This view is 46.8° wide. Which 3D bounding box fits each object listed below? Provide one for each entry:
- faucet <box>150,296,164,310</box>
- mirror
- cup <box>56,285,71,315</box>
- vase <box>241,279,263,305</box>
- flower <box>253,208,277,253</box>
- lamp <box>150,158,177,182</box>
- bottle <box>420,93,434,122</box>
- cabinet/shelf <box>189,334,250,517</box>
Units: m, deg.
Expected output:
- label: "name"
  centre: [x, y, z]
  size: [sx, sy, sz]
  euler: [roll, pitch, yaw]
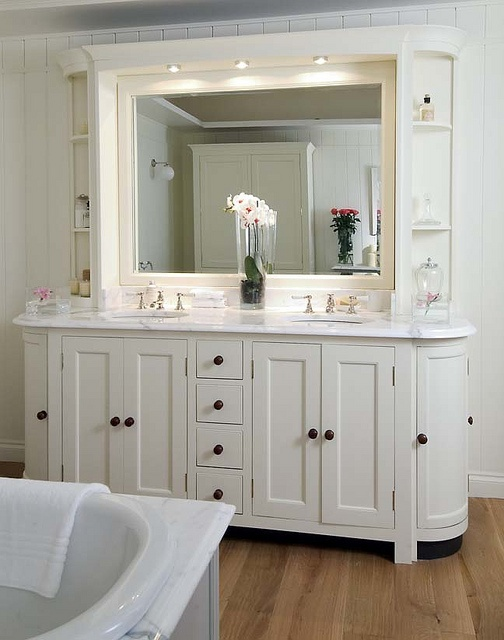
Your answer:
- label: "faucet"
  centre: [-0.469, -0.084, 2.868]
  size: [0.072, 0.078, 0.048]
  euler: [3, -1, -14]
- label: "mirror"
  centre: [-0.002, -0.700, 2.793]
  size: [1.380, 1.163, 0.108]
  euler: [0, 4, 8]
- label: "cup"
  centre: [-0.859, -0.088, 2.662]
  size: [0.067, 0.128, 0.128]
  euler: [-1, 1, 2]
- label: "vase"
  centre: [0.004, -0.128, 2.706]
  size: [0.106, 0.124, 0.107]
  euler: [2, -2, -4]
- label: "flower"
  centre: [0.075, -0.428, 2.827]
  size: [0.137, 0.232, 0.145]
  euler: [-5, 19, -16]
- label: "lamp"
  centre: [-0.450, -0.759, 2.935]
  size: [0.132, 0.132, 0.083]
  euler: [4, 8, 28]
- label: "bottle"
  centre: [0.775, -0.926, 2.571]
  size: [0.060, 0.124, 0.117]
  euler: [1, 5, 17]
- label: "cabinet/shelf"
  centre: [-0.118, 0.382, 2.403]
  size: [0.237, 0.783, 0.365]
  euler: [2, 19, 2]
